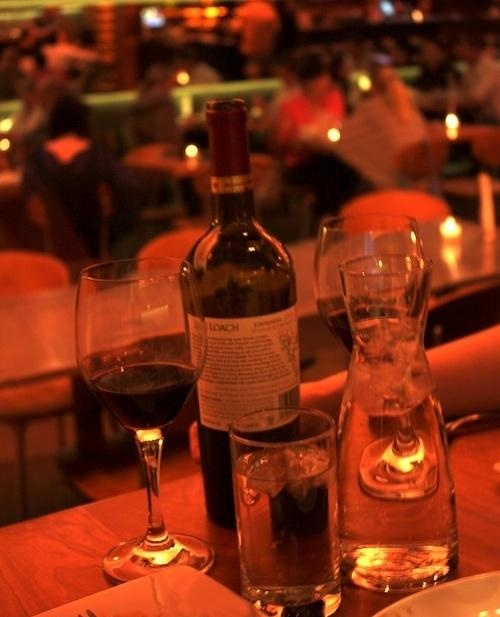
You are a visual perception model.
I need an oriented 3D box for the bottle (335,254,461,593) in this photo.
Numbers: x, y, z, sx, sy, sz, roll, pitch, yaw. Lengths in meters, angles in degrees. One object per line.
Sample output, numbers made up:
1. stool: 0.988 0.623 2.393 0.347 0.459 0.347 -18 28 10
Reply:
1. bottle: 0.079 0.067 0.345 0.065 0.175 0.078 -3 21 9
